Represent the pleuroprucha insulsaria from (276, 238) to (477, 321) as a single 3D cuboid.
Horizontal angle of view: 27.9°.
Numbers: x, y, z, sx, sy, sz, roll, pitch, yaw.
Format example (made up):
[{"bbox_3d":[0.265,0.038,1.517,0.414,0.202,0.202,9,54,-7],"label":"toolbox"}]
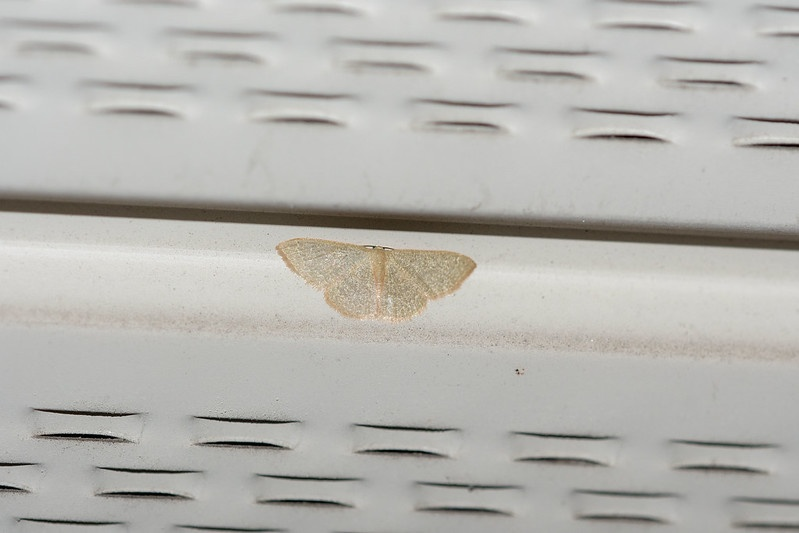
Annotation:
[{"bbox_3d":[-0.032,0.022,2.301,0.339,0.019,0.112,2,85,-36],"label":"pleuroprucha insulsaria"}]
